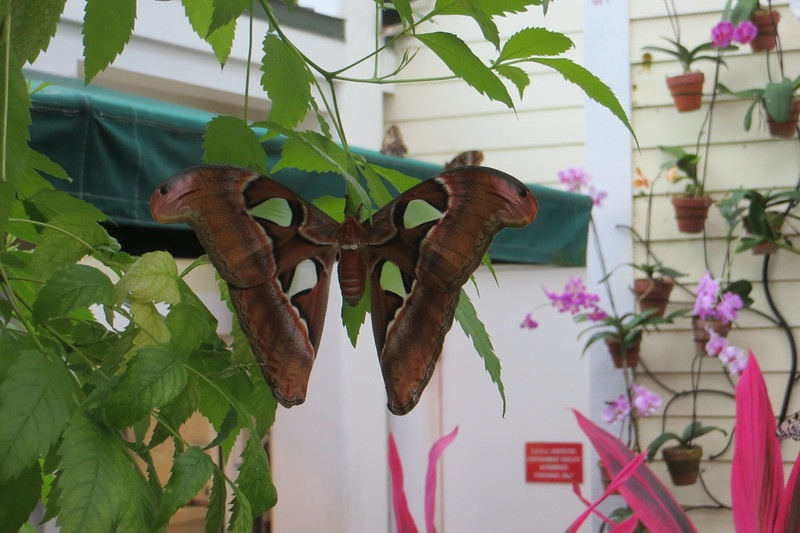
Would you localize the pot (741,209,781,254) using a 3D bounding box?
[{"bbox_3d":[1.667,-0.151,4.787,0.170,0.154,0.181,2,-10,0],"label":"pot"}]

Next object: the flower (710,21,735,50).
[{"bbox_3d":[1.472,-1.045,4.737,0.099,0.093,0.135,-2,-1,17],"label":"flower"}]

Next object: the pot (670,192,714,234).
[{"bbox_3d":[1.353,-0.234,4.791,0.175,0.161,0.167,1,-5,0],"label":"pot"}]

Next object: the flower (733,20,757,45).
[{"bbox_3d":[1.574,-1.060,4.722,0.149,0.081,0.090,0,-2,-44],"label":"flower"}]

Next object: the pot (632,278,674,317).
[{"bbox_3d":[1.180,0.143,4.801,0.163,0.136,0.167,2,-8,0],"label":"pot"}]

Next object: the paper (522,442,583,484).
[{"bbox_3d":[0.694,0.875,4.658,0.268,0.188,0.081,-1,-1,2],"label":"paper"}]

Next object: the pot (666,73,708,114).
[{"bbox_3d":[1.346,-0.805,4.877,0.179,0.169,0.189,-7,4,0],"label":"pot"}]

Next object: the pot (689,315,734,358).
[{"bbox_3d":[1.419,0.349,4.765,0.130,0.115,0.127,23,-3,1],"label":"pot"}]

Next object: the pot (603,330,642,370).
[{"bbox_3d":[1.035,0.396,4.801,0.178,0.185,0.161,0,2,22],"label":"pot"}]

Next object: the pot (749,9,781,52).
[{"bbox_3d":[1.663,-1.062,4.767,0.167,0.178,0.171,0,-5,0],"label":"pot"}]

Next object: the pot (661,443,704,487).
[{"bbox_3d":[1.306,0.901,4.773,0.199,0.179,0.201,-7,-2,0],"label":"pot"}]
